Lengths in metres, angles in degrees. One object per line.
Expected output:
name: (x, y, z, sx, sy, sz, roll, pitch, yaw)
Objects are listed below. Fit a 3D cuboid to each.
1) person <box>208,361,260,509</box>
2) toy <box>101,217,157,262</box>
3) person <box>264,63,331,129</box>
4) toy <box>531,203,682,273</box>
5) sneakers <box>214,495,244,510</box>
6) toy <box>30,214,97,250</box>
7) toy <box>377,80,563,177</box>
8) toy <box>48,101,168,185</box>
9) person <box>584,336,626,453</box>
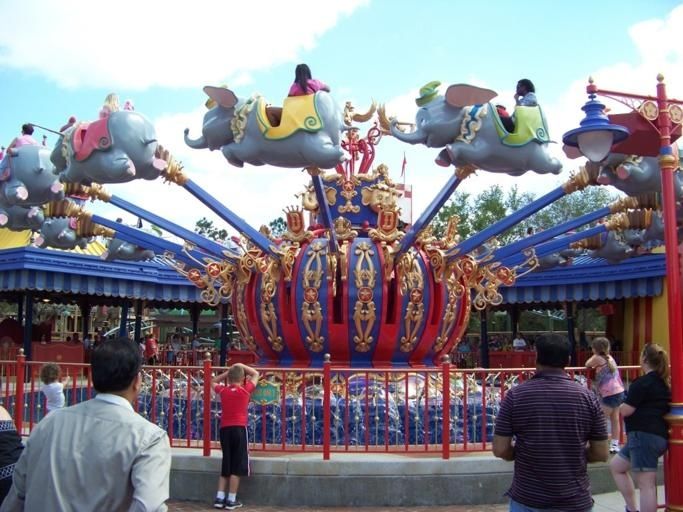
person: (-1.279, 2.111, 8.535, 0.524, 1.660, 0.513, 1, -8, -13)
toy: (-3.531, -0.250, 11.960, 0.685, 0.358, 0.714, -4, -21, 38)
person: (-0.555, -2.042, 9.541, 0.800, 0.994, 0.490, 11, 25, 27)
toy: (4.365, -0.321, 11.868, 1.234, 0.365, 1.550, -4, -11, -6)
sneakers: (-1.320, 2.843, 8.324, 0.285, 0.142, 0.132, 2, -11, -2)
toy: (-4.802, -0.435, 12.227, 0.799, 0.643, 0.641, -1, -8, -21)
toy: (1.761, -1.614, 9.143, 1.497, 1.199, 1.380, 7, -11, -41)
toy: (-3.140, -1.403, 9.411, 1.635, 1.123, 1.045, 6, 7, 29)
person: (3.369, 1.747, 9.196, 0.486, 1.495, 0.430, 4, 14, 35)
